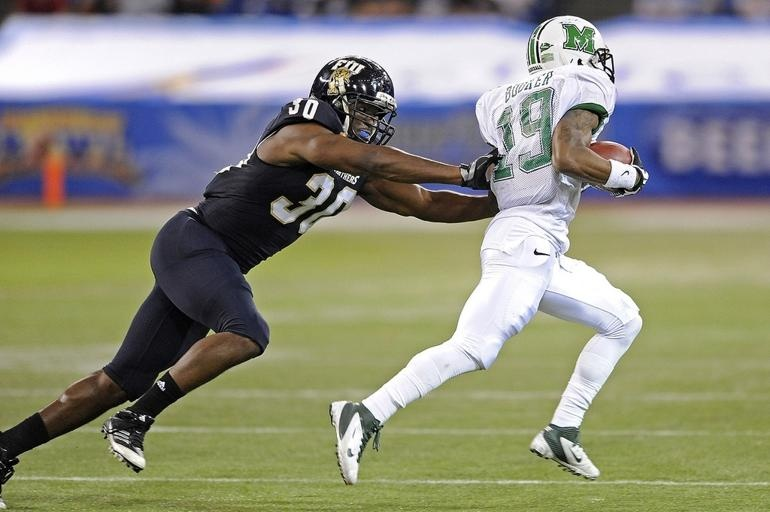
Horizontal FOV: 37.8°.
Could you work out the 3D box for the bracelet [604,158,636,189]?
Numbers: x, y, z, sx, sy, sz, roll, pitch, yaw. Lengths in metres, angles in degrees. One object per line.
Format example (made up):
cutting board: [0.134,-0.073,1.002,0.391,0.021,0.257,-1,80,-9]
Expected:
bracelet: [1.778,-0.646,8.457,0.266,0.164,0.241,-5,-24,8]

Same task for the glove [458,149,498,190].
glove: [0.721,-0.660,8.521,0.361,0.307,0.220,-3,12,-15]

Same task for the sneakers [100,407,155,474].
sneakers: [-1.934,1.371,8.380,0.298,0.468,0.244,7,14,29]

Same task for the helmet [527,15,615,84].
helmet: [1.367,-1.677,8.909,0.783,0.445,0.483,-1,8,-5]
